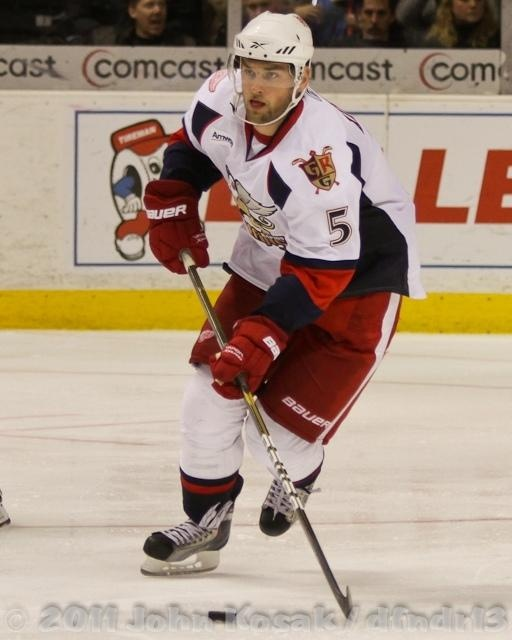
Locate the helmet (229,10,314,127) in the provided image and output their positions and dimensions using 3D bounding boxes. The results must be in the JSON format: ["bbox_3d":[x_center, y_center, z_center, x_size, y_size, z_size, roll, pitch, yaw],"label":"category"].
[{"bbox_3d":[0.015,-0.666,2.713,0.256,0.293,0.234,8,16,15],"label":"helmet"}]

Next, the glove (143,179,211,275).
[{"bbox_3d":[-0.226,-0.282,3.039,0.207,0.257,0.110,0,21,8],"label":"glove"}]

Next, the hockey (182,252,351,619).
[{"bbox_3d":[0.029,0.317,2.815,1.169,0.056,0.188,54,26,21],"label":"hockey"}]

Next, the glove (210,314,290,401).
[{"bbox_3d":[-0.015,0.083,2.659,0.174,0.233,0.100,38,27,10],"label":"glove"}]
